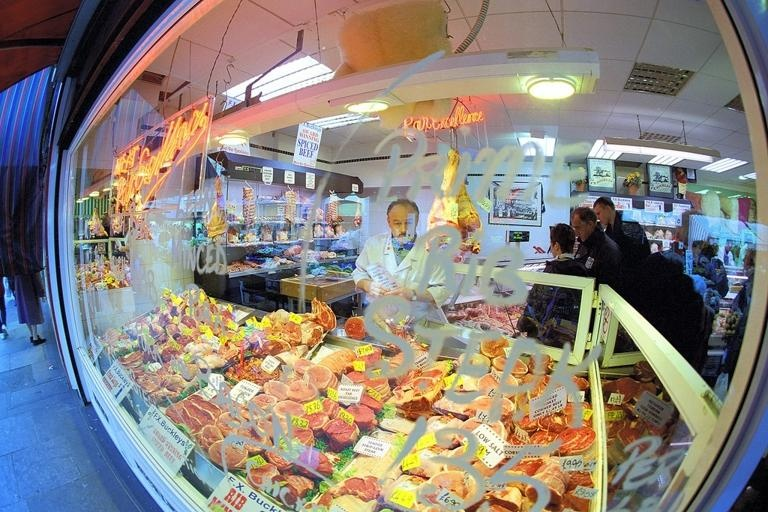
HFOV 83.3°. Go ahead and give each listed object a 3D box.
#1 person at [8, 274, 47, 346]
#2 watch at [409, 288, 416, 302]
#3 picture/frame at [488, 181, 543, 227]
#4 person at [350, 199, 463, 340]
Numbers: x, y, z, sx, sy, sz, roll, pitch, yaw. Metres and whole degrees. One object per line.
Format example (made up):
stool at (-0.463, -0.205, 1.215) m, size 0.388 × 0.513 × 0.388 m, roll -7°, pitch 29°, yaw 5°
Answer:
person at (-4.173, 0.578, 5.064) m, size 0.267 × 0.917 × 0.969 m, roll -2°, pitch 7°, yaw -40°
watch at (0.096, 0.128, 1.461) m, size 0.024 × 0.041 × 0.007 m, roll 5°, pitch 6°, yaw 26°
picture/frame at (0.421, -0.169, 1.373) m, size 0.143 × 0.118 × 0.005 m, roll 3°, pitch 5°, yaw 11°
person at (0.035, 0.148, 1.568) m, size 0.369 × 0.698 × 0.232 m, roll 11°, pitch 22°, yaw 23°
